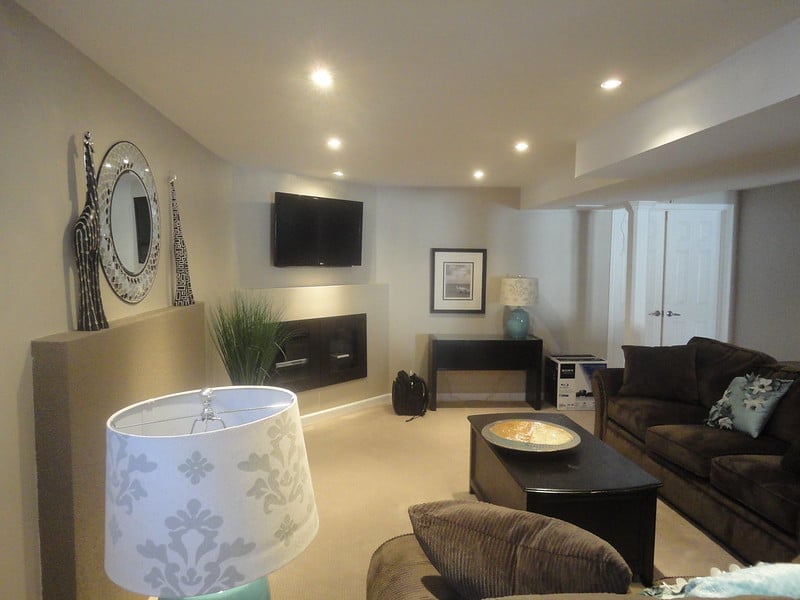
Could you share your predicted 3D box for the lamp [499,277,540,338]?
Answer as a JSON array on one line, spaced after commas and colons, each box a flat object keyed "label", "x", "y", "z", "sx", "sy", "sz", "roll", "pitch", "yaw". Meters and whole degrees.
[{"label": "lamp", "x": 1.302, "y": 0.091, "z": 6.398, "sx": 0.456, "sy": 0.722, "sz": 0.469, "roll": 3, "pitch": -6, "yaw": -12}]

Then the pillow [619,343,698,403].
[{"label": "pillow", "x": 2.228, "y": 0.634, "z": 4.937, "sx": 0.632, "sy": 0.561, "sz": 0.624, "roll": -4, "pitch": -23, "yaw": 35}]

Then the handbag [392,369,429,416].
[{"label": "handbag", "x": 0.107, "y": 1.018, "z": 6.251, "sx": 0.407, "sy": 0.495, "sz": 0.466, "roll": -2, "pitch": -3, "yaw": 3}]

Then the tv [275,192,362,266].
[{"label": "tv", "x": -0.813, "y": -0.688, "z": 5.798, "sx": 0.996, "sy": 0.670, "sz": 0.118, "roll": 5, "pitch": 7, "yaw": 18}]

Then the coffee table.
[{"label": "coffee table", "x": 1.138, "y": 1.242, "z": 3.881, "sx": 0.798, "sy": 0.663, "sz": 1.373, "roll": -4, "pitch": 11, "yaw": 1}]

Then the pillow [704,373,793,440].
[{"label": "pillow", "x": 2.461, "y": 0.714, "z": 4.025, "sx": 0.127, "sy": 0.412, "sz": 0.424, "roll": 36, "pitch": -10, "yaw": -7}]

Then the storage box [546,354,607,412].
[{"label": "storage box", "x": 2.025, "y": 0.937, "z": 6.398, "sx": 0.517, "sy": 0.532, "sz": 0.428, "roll": 0, "pitch": 3, "yaw": 19}]

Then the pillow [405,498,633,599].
[{"label": "pillow", "x": 0.366, "y": 0.862, "z": 1.907, "sx": 0.744, "sy": 0.292, "sz": 0.197, "roll": -1, "pitch": 9, "yaw": 31}]

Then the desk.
[{"label": "desk", "x": 0.953, "y": 0.835, "z": 6.474, "sx": 1.237, "sy": 0.852, "sz": 0.519, "roll": 0, "pitch": 7, "yaw": 0}]

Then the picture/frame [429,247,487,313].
[{"label": "picture/frame", "x": 0.641, "y": -0.257, "z": 6.544, "sx": 0.682, "sy": 0.828, "sz": 0.054, "roll": 1, "pitch": 2, "yaw": -6}]
